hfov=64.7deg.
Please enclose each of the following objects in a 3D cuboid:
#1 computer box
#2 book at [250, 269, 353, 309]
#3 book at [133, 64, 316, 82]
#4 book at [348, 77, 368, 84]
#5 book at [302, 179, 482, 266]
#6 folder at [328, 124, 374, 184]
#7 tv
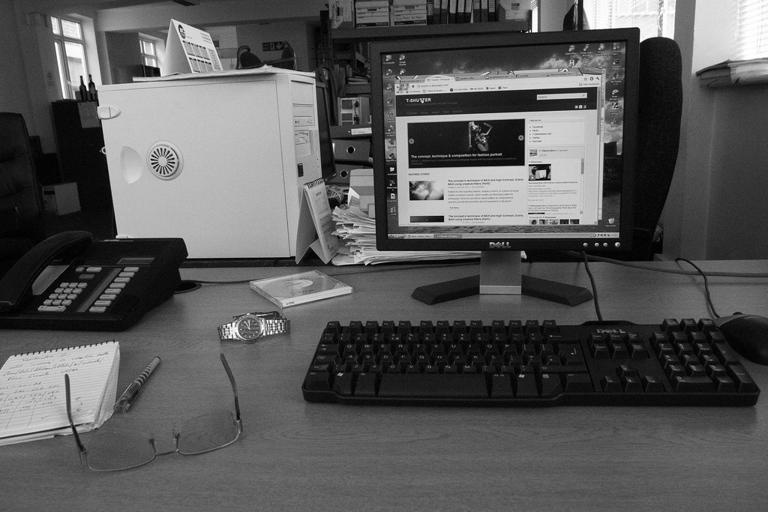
[{"bbox_3d":[-0.480,-0.284,1.953,0.565,0.524,0.569,0,13,2],"label":"computer box"},{"bbox_3d":[-0.208,0.079,1.509,0.226,0.016,0.205,-7,17,-23],"label":"book"},{"bbox_3d":[-0.462,-0.525,1.767,0.466,0.047,0.246,1,17,9],"label":"book"},{"bbox_3d":[-0.279,-1.942,6.717,0.186,0.070,0.654,-3,17,-4],"label":"book"},{"bbox_3d":[-0.035,-0.088,1.703,0.355,0.153,0.282,1,10,1],"label":"book"},{"bbox_3d":[-0.141,-0.482,2.758,0.250,0.344,0.322,2,19,4],"label":"folder"},{"bbox_3d":[0.272,-0.193,1.424,0.573,0.559,0.191,1,10,16],"label":"tv"}]
